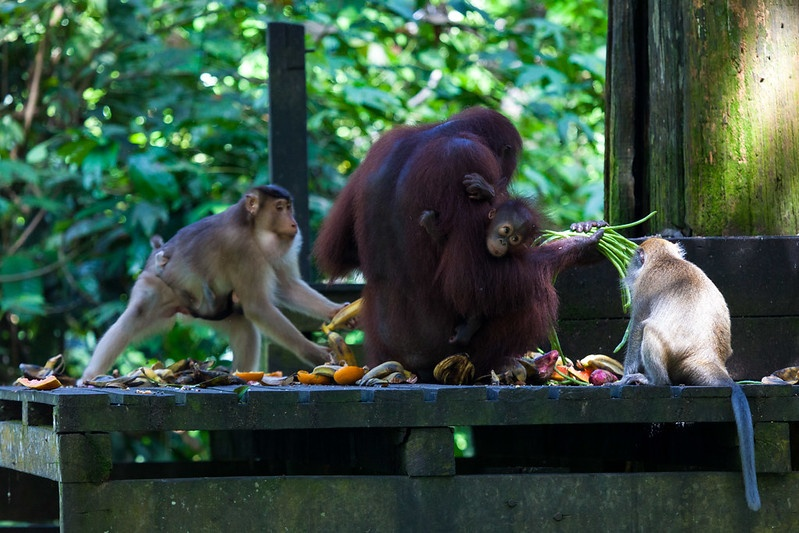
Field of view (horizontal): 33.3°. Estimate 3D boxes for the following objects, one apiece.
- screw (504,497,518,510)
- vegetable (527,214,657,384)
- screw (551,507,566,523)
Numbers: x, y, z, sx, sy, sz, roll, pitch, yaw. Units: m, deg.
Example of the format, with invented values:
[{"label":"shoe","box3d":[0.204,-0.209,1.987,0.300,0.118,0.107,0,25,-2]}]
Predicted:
[{"label":"screw","box3d":[0.650,1.372,7.844,0.069,0.073,0.018,-2,-1,-4]},{"label":"vegetable","box3d":[1.348,0.105,8.804,0.736,1.120,0.375,2,8,20]},{"label":"screw","box3d":[0.932,1.446,7.843,0.074,0.059,0.016,-14,6,-1]}]
